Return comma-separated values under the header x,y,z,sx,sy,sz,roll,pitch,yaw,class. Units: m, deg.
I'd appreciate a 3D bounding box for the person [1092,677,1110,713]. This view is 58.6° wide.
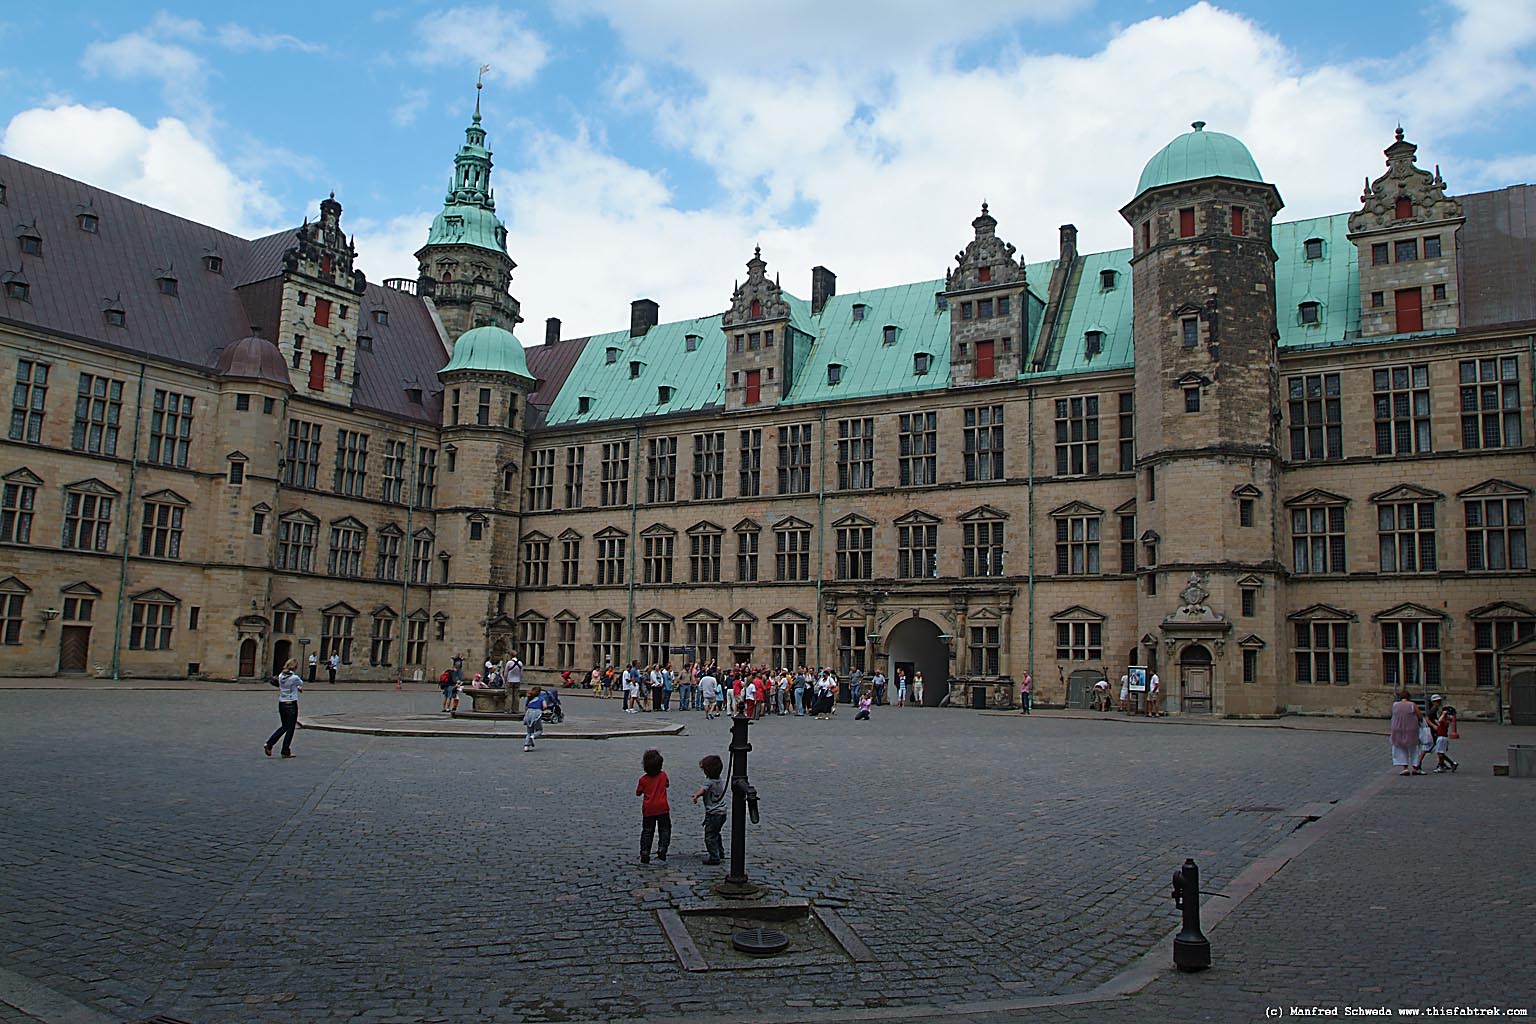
x,y,z,sx,sy,sz,roll,pitch,yaw,class
14.098,7.791,57.934,0.720,1.104,0.778,5,-2,3,person

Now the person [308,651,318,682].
x,y,z,sx,sy,sz,roll,pitch,yaw,class
-22.847,7.792,68.466,0.361,1.435,0.837,1,-9,-9,person
